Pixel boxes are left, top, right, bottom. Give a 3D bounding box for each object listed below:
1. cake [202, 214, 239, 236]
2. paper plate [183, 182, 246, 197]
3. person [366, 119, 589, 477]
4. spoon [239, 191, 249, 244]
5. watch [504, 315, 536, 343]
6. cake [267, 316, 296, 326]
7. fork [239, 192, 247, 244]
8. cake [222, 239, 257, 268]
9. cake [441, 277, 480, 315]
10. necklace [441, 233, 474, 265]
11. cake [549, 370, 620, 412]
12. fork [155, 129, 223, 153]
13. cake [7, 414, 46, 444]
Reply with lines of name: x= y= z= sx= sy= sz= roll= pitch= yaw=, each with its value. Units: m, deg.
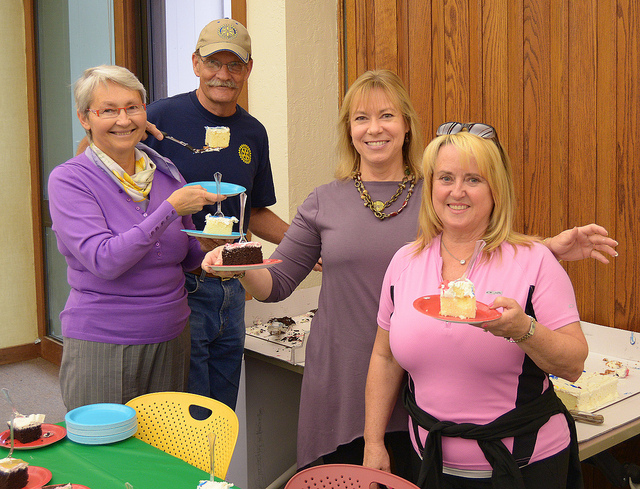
cake: x=-0.420 y=-0.079 z=2.371 sx=0.101 sy=0.075 sz=0.102 roll=6 pitch=2 yaw=-6
paper plate: x=-0.402 y=-0.239 z=2.430 sx=0.318 sy=0.048 sz=0.180 roll=7 pitch=13 yaw=28
person: x=0.457 y=0.227 z=1.839 sx=0.527 sy=1.227 sz=0.646 roll=-7 pitch=12 yaw=-33
spoon: x=-0.358 y=-0.137 z=2.657 sx=0.044 sy=0.286 sz=0.039 roll=1 pitch=4 yaw=42
watch: x=0.593 y=0.262 z=1.647 sx=0.022 sy=0.089 sz=0.085 roll=28 pitch=-10 yaw=-18
cake: x=-0.230 y=0.491 z=3.609 sx=0.096 sy=0.073 sz=0.041 roll=1 pitch=43 yaw=18
fork: x=-0.347 y=-0.127 z=2.557 sx=0.041 sy=0.272 sz=0.037 roll=3 pitch=8 yaw=13
cake: x=-0.317 y=0.038 z=2.221 sx=0.122 sy=0.080 sz=0.244 roll=2 pitch=11 yaw=7
cake: x=0.399 y=0.155 z=1.678 sx=0.100 sy=0.108 sz=0.114 roll=1 pitch=-2 yaw=-7
necklace: x=0.461 y=0.023 z=1.917 sx=0.030 sy=0.075 sz=0.121 roll=-8 pitch=14 yaw=-38
cake: x=1.147 y=0.629 z=2.412 sx=0.335 sy=0.090 sz=0.149 roll=-7 pitch=13 yaw=-33
fork: x=-0.662 y=-0.521 z=2.825 sx=0.304 sy=0.048 sz=0.047 roll=22 pitch=39 yaw=-12
cake: x=-0.999 y=0.635 z=1.922 sx=0.111 sy=0.073 sz=0.108 roll=0 pitch=0 yaw=-42
